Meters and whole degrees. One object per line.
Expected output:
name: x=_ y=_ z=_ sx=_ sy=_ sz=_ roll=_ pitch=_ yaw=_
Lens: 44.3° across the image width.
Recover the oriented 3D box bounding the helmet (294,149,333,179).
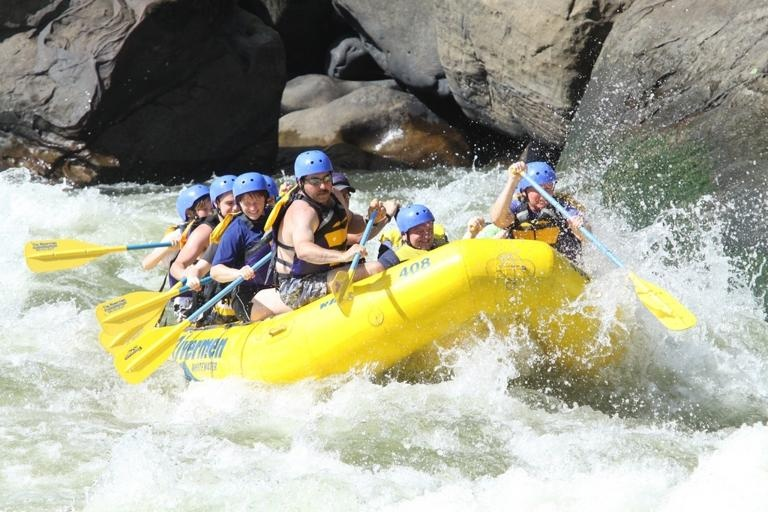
helmet: x=-0.759 y=-0.935 z=9.677 sx=0.260 sy=0.271 sz=0.344 roll=-15 pitch=8 yaw=-17

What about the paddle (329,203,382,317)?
paddle: x=-0.195 y=-0.156 z=9.825 sx=0.502 sy=0.122 sz=1.858 roll=-25 pitch=20 yaw=19

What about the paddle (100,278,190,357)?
paddle: x=-2.626 y=0.583 z=9.944 sx=1.217 sy=0.239 sz=0.445 roll=-31 pitch=79 yaw=-35

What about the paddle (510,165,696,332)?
paddle: x=2.322 y=-0.041 z=9.860 sx=0.391 sy=0.190 sz=2.577 roll=-49 pitch=64 yaw=11

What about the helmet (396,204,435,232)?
helmet: x=0.309 y=-0.368 z=9.846 sx=0.266 sy=0.263 sz=0.335 roll=-22 pitch=8 yaw=-20

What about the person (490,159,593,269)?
person: x=1.736 y=-0.430 z=10.112 sx=0.793 sy=1.753 sz=0.725 roll=-12 pitch=32 yaw=-2

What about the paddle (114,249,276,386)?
paddle: x=-1.853 y=0.318 z=9.256 sx=2.211 sy=0.144 sz=0.432 roll=-26 pitch=82 yaw=-49

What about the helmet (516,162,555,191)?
helmet: x=1.601 y=-0.857 z=10.133 sx=0.264 sy=0.288 sz=0.363 roll=-17 pitch=13 yaw=-27

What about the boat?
boat: x=-0.195 y=0.727 z=9.314 sx=3.802 sy=2.148 sz=0.814 roll=-17 pitch=67 yaw=-3

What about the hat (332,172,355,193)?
hat: x=-0.455 y=-0.787 z=10.056 sx=0.198 sy=0.147 sz=0.276 roll=3 pitch=-7 yaw=-33
